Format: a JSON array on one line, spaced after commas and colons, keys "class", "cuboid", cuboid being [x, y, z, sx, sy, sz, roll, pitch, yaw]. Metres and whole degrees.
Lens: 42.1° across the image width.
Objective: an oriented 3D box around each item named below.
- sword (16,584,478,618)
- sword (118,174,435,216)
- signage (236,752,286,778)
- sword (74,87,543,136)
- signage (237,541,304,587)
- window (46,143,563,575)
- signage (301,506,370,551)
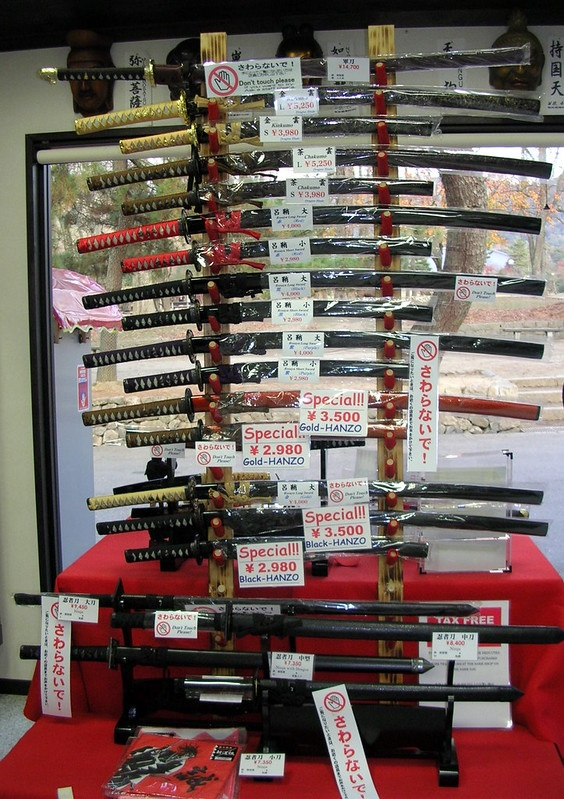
[{"class": "sword", "cuboid": [-0.043, 0.534, 1.945, 1.133, 0.103, 0.097, 0, 36, 2]}, {"class": "sword", "cuboid": [-0.019, -0.556, 1.990, 0.836, 0.077, 0.171, -2, 6, 11]}, {"class": "signage", "cuboid": [-0.051, 0.879, 1.756, 0.106, 0.039, 0.053, -2, 6, 6]}, {"class": "sword", "cuboid": [0.080, -0.784, 1.980, 1.238, 0.091, 0.165, -4, 6, -6]}, {"class": "signage", "cuboid": [-0.028, 0.426, 1.906, 0.136, 0.087, 0.006, -1, 12, 10]}, {"class": "window", "cuboid": [0.130, -0.143, 2.145, 1.758, 1.365, 0.585, 0, 6, -1]}, {"class": "signage", "cuboid": [0.141, 0.330, 1.888, 0.129, 0.083, 0.014, -2, -1, 6]}]
